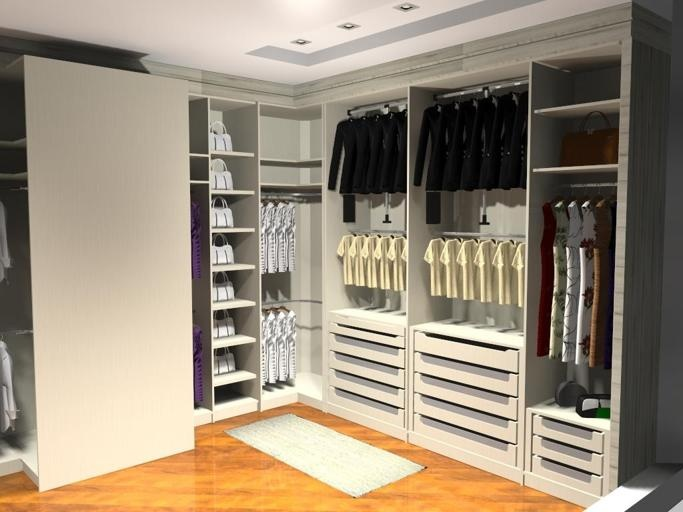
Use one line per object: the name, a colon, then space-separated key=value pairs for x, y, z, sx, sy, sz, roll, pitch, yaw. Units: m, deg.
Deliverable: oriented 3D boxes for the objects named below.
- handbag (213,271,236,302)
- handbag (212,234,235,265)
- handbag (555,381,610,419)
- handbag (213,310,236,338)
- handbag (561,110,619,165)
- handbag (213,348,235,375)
handbag: x=-1.096 y=0.293 z=4.953 sx=0.272 sy=0.336 sz=0.128 roll=1 pitch=-7 yaw=-38
handbag: x=-1.092 y=-0.055 z=4.891 sx=0.267 sy=0.331 sz=0.126 roll=1 pitch=-7 yaw=-37
handbag: x=1.623 y=0.972 z=3.596 sx=0.222 sy=0.085 sz=0.225 roll=2 pitch=0 yaw=36
handbag: x=-1.101 y=0.640 z=4.978 sx=0.275 sy=0.274 sz=0.100 roll=0 pitch=-4 yaw=-41
handbag: x=1.690 y=-0.779 z=3.553 sx=0.149 sy=0.355 sz=0.414 roll=-4 pitch=7 yaw=-34
handbag: x=-1.098 y=0.987 z=4.963 sx=0.265 sy=0.264 sz=0.096 roll=3 pitch=-9 yaw=-38
